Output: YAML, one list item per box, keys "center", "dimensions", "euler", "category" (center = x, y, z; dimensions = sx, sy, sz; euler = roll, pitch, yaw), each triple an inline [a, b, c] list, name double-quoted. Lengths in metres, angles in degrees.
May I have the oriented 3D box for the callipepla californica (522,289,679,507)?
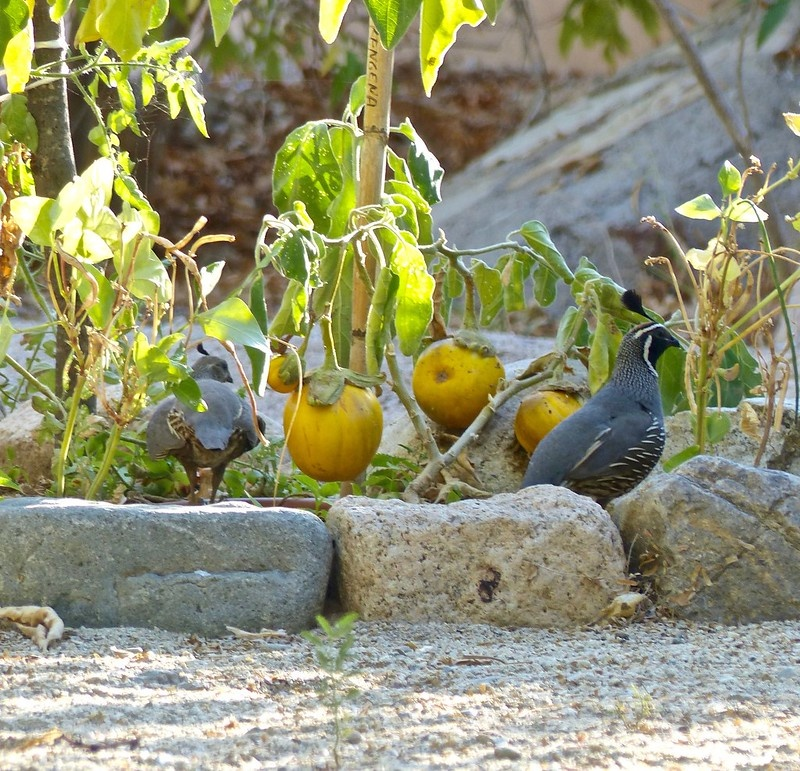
- center: [0.466, 0.020, 3.098]
  dimensions: [0.382, 0.397, 0.406]
  euler: [3, 1, -29]
  category: "callipepla californica"
